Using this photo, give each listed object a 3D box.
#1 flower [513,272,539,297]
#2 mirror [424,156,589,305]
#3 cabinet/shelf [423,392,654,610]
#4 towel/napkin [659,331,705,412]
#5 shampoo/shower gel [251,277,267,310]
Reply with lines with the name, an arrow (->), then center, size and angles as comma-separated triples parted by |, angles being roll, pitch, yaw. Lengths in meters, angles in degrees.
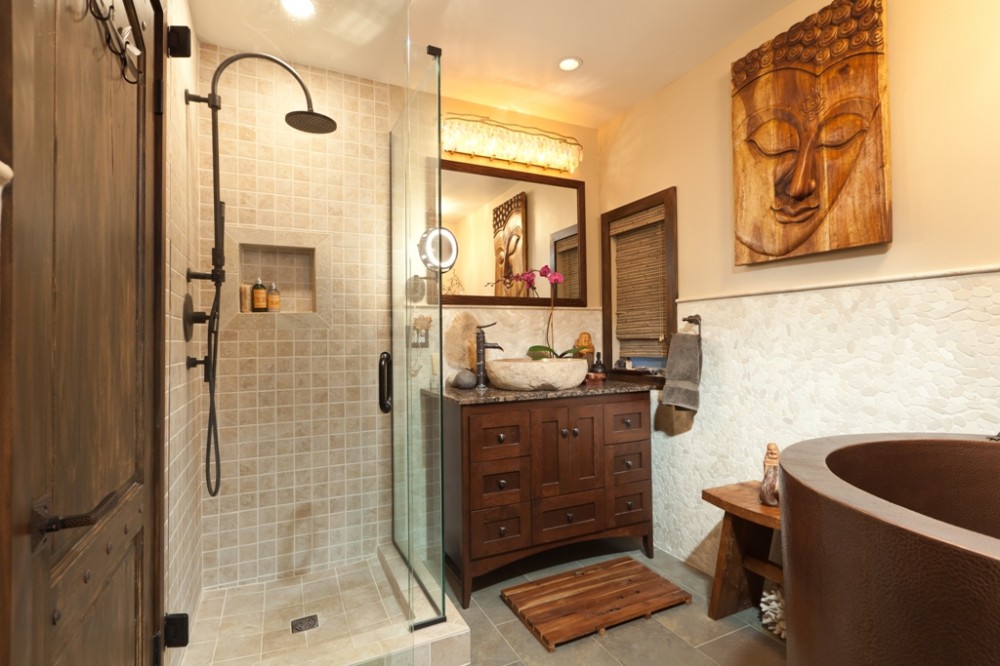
flower -> 0.171, -0.291, 4.312 | 0.156, 0.166, 0.140 | 1, -4, -20
mirror -> 0.010, -0.614, 4.082 | 1.000, 0.830, 0.072 | -1, 3, -25
cabinet/shelf -> 0.273, 0.781, 3.681 | 1.194, 1.008, 0.370 | -6, 11, -25
towel/napkin -> 0.981, 0.212, 3.708 | 0.201, 0.404, 0.219 | 2, 11, 15
shampoo/shower gel -> -1.001, -0.155, 2.858 | 0.072, 0.133, 0.025 | -5, 11, -19
